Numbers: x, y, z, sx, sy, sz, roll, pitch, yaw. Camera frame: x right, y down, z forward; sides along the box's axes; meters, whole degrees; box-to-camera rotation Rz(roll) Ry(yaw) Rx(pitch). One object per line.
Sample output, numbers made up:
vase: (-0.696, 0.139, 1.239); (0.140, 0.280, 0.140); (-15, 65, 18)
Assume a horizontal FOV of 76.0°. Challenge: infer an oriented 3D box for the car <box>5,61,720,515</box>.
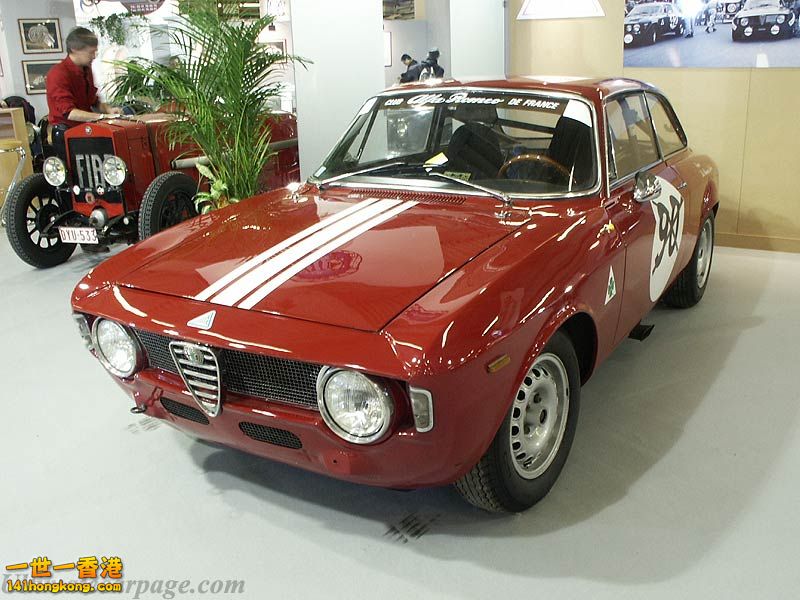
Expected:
car: (0.531, -0.194, 2.723); (1.734, 1.219, 3.343); (12, 27, 32)
